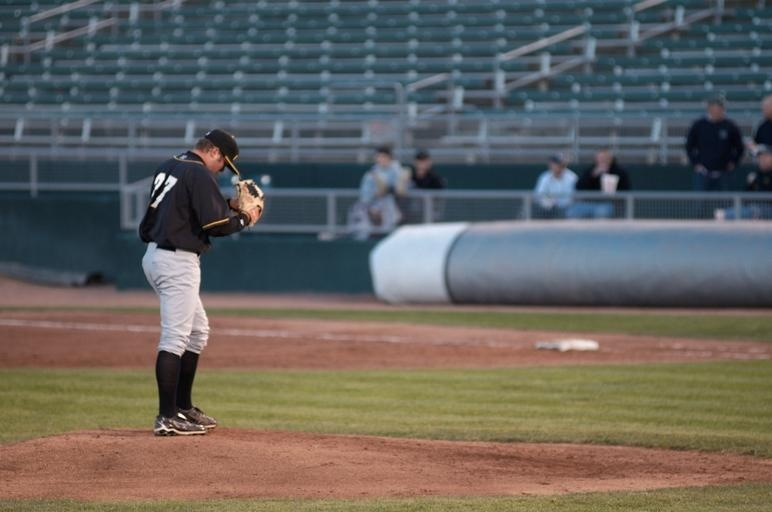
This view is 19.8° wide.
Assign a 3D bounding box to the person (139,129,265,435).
[{"bbox_3d":[-2.086,0.273,23.471,1.118,3.262,0.475,2,4,-7],"label":"person"}]

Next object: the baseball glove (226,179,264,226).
[{"bbox_3d":[-1.525,-0.578,23.723,0.382,0.463,0.203,1,-7,-34],"label":"baseball glove"}]

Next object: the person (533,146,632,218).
[{"bbox_3d":[2.263,-0.795,25.978,1.163,0.649,0.852,-1,2,10],"label":"person"}]

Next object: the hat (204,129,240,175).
[{"bbox_3d":[-1.686,-1.151,23.610,0.511,0.294,0.359,46,-12,-10],"label":"hat"}]

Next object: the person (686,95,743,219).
[{"bbox_3d":[3.845,-1.317,25.816,0.678,1.116,0.304,3,4,6],"label":"person"}]

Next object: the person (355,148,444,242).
[{"bbox_3d":[0.071,-0.752,26.568,1.036,1.126,0.273,3,4,-1],"label":"person"}]
